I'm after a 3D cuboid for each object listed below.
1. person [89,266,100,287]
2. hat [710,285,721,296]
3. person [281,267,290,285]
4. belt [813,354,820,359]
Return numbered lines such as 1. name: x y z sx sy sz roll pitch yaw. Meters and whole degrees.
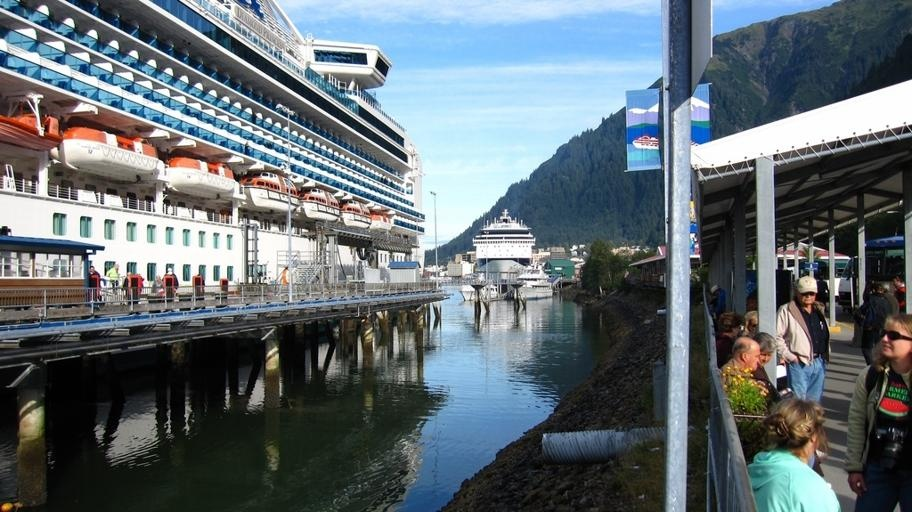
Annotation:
1. person: -19.366 1.245 38.410 0.565 0.748 1.178 -4 14 -31
2. hat: 17.380 2.295 47.995 0.782 0.325 1.102 -25 -13 9
3. person: -13.194 1.556 55.574 0.476 1.374 0.997 -3 2 7
4. belt: 12.963 3.632 25.818 0.149 0.101 0.144 -3 4 -38
